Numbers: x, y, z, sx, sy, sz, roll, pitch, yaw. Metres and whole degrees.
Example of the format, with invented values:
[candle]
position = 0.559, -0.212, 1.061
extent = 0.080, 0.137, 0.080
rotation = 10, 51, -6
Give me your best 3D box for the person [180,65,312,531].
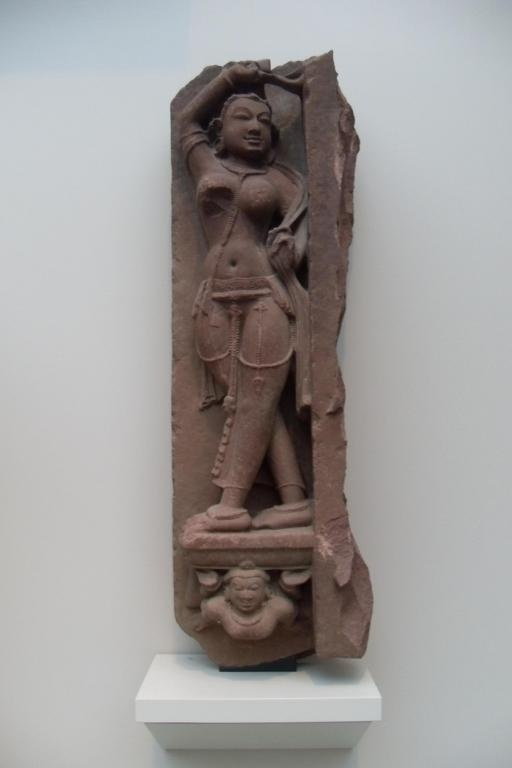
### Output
[person]
position = -0.017, -0.382, 4.438
extent = 0.488, 1.804, 0.663
rotation = -3, 11, -4
